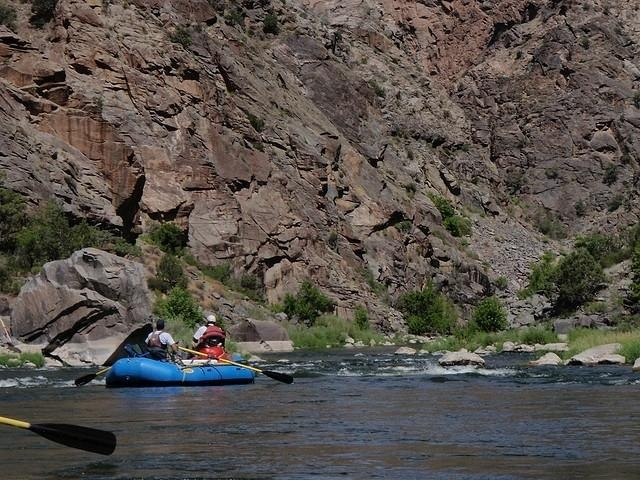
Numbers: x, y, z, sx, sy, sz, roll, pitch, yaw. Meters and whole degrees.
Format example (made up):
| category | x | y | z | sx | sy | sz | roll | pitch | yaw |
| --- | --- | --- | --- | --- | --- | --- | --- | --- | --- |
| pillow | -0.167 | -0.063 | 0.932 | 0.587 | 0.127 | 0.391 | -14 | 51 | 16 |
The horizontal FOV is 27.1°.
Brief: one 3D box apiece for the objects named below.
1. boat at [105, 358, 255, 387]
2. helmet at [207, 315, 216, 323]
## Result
| category | x | y | z | sx | sy | sz | roll | pitch | yaw |
| --- | --- | --- | --- | --- | --- | --- | --- | --- | --- |
| boat | -9.593 | 9.782 | 95.738 | 5.953 | 2.242 | 10.016 | -11 | -14 | 43 |
| helmet | -7.569 | 5.620 | 94.518 | 0.401 | 0.511 | 0.575 | 4 | -4 | -12 |
